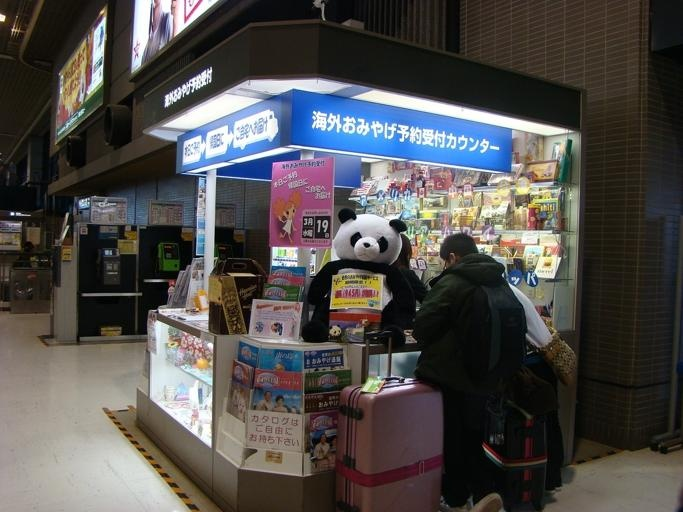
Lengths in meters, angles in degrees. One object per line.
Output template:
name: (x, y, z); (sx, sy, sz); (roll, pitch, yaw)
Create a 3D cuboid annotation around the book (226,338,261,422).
book: (-0.667, 0.860, 3.711); (0.164, 0.466, 0.463); (16, 11, -14)

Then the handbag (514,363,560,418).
handbag: (1.352, 0.957, 3.785); (0.259, 0.354, 0.123); (-11, 2, -13)

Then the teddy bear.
teddy bear: (0.205, 0.256, 4.189); (0.943, 1.266, 0.858); (2, -14, 0)

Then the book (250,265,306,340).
book: (-0.456, 0.349, 3.812); (0.368, 0.430, 0.135); (2, 3, 16)

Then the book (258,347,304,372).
book: (-0.401, 0.658, 3.549); (0.262, 0.150, 0.185); (2, -3, 19)

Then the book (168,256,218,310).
book: (-1.396, 0.228, 5.080); (0.143, 0.491, 0.353); (7, 1, -4)
